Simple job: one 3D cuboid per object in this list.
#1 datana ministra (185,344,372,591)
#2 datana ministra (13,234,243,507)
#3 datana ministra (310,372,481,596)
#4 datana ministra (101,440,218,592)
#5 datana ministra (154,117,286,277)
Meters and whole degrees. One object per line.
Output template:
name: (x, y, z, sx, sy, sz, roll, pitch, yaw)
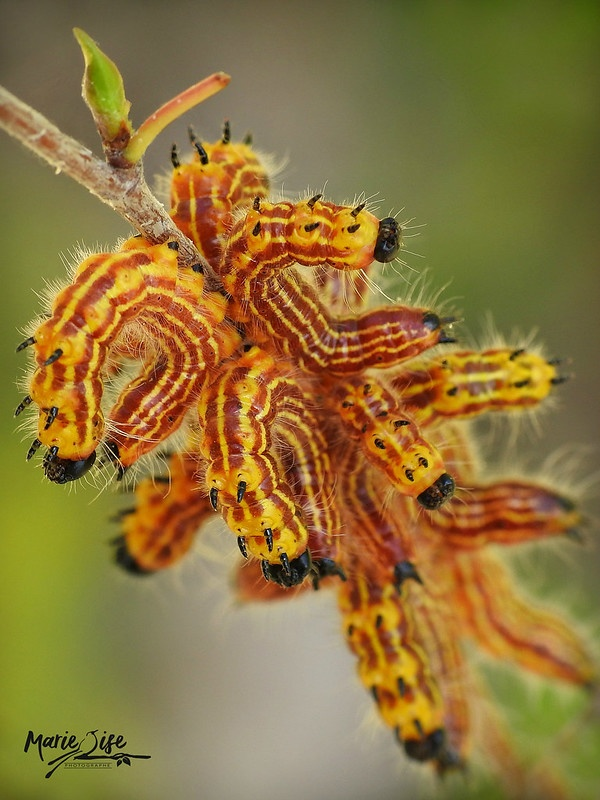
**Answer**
datana ministra: (0.000, 0.085, 0.969, 0.082, 0.284, 0.201, -18, -4, -40)
datana ministra: (-0.176, -0.049, 0.871, 0.207, 0.228, 0.148, -6, -32, -5)
datana ministra: (0.089, 0.071, 0.945, 0.086, 0.248, 0.064, -8, -53, -34)
datana ministra: (-0.200, 0.172, 1.265, 0.148, 0.093, 0.215, 42, -89, -17)
datana ministra: (-0.105, -0.274, 1.094, 0.131, 0.220, 0.110, 46, -50, -12)
